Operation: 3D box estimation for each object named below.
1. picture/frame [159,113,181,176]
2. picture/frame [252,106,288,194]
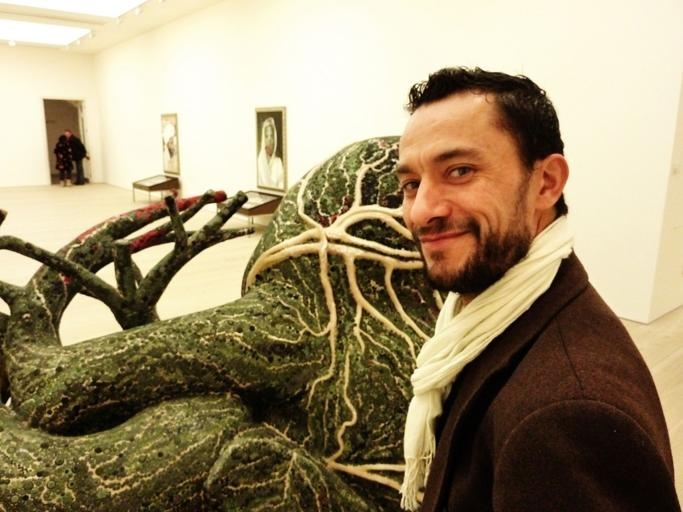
[{"bbox_3d":[-3.242,-2.188,10.947,0.094,1.264,1.002,-6,14,-30],"label":"picture/frame"},{"bbox_3d":[-0.980,-1.497,8.067,0.236,1.166,0.961,-6,9,-28],"label":"picture/frame"}]
